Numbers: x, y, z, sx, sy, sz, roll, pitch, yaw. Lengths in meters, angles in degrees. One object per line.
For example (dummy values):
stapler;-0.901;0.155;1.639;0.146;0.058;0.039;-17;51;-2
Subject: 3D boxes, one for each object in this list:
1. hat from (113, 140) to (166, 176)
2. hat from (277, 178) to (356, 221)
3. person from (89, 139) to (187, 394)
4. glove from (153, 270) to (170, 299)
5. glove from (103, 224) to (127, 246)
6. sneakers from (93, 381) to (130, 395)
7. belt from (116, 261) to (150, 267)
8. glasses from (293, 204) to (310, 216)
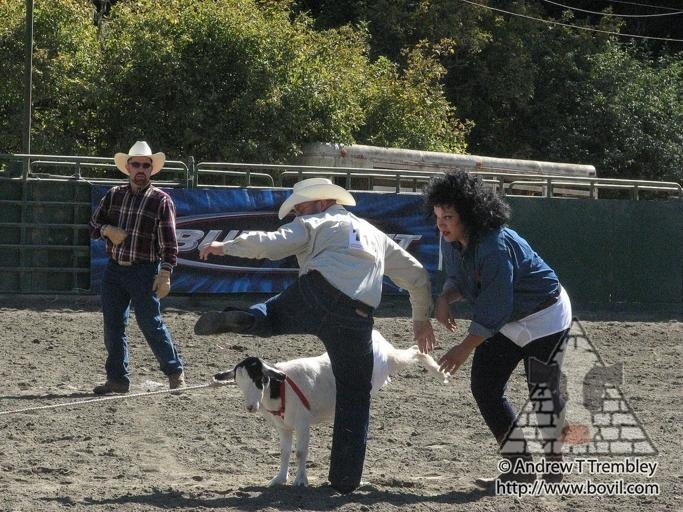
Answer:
hat;-3.446;-1.686;21.619;0.635;0.292;0.712;3;-24;-18
hat;-0.413;-0.929;19.229;0.831;0.352;0.705;-14;-18;-16
person;-3.404;0.185;21.253;1.460;4.209;0.813;-1;3;-7
glove;-2.927;0.461;21.066;0.173;0.435;0.310;3;9;-41
glove;-3.750;-0.357;20.945;0.357;0.269;0.171;22;50;41
sneakers;-3.835;2.177;21.345;0.631;0.276;0.221;4;4;1
belt;-3.439;0.133;21.065;0.519;0.090;0.068;0;3;-6
glasses;-0.607;-0.714;19.253;0.214;0.156;0.210;7;22;-9
